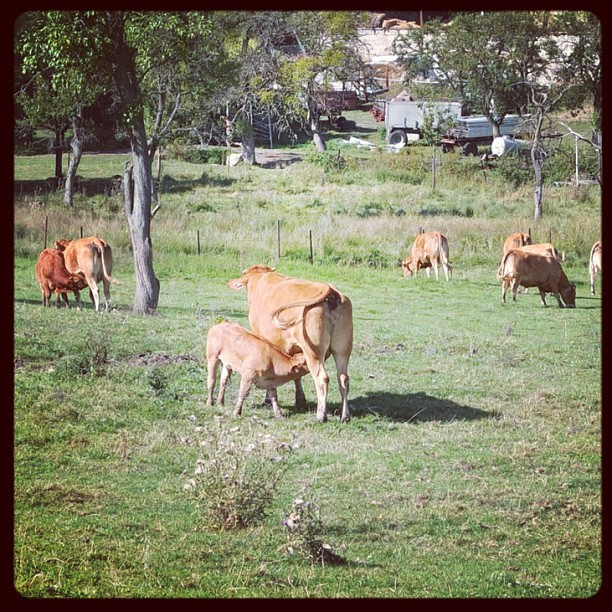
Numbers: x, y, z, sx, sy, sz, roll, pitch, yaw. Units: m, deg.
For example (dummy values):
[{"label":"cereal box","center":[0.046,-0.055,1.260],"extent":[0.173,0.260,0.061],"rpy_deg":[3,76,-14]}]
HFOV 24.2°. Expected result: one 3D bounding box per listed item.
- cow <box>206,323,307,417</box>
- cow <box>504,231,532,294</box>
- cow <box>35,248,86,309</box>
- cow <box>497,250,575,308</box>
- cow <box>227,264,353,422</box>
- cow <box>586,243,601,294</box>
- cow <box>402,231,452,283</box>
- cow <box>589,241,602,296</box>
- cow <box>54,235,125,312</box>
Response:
[{"label":"cow","center":[-0.631,0.730,15.789],"extent":[1.461,1.002,0.429],"rpy_deg":[9,11,35]},{"label":"cow","center":[2.883,-0.697,19.409],"extent":[0.254,0.602,0.982],"rpy_deg":[0,19,8]},{"label":"cow","center":[-3.198,-0.378,18.308],"extent":[0.686,0.747,0.251],"rpy_deg":[1,4,18]},{"label":"cow","center":[3.171,-0.383,19.291],"extent":[1.004,0.754,0.366],"rpy_deg":[0,4,7]},{"label":"cow","center":[-0.114,0.448,15.823],"extent":[1.346,1.711,0.788],"rpy_deg":[2,4,36]},{"label":"cow","center":[3.978,-0.539,19.477],"extent":[0.132,0.664,0.328],"rpy_deg":[0,4,11]},{"label":"cow","center":[1.668,-0.711,19.834],"extent":[0.289,0.749,1.218],"rpy_deg":[-9,4,-23]},{"label":"cow","center":[3.973,-0.512,19.408],"extent":[0.136,0.735,0.492],"rpy_deg":[0,4,8]},{"label":"cow","center":[-2.919,-0.531,18.796],"extent":[0.352,1.034,1.553],"rpy_deg":[-7,12,-23]}]
